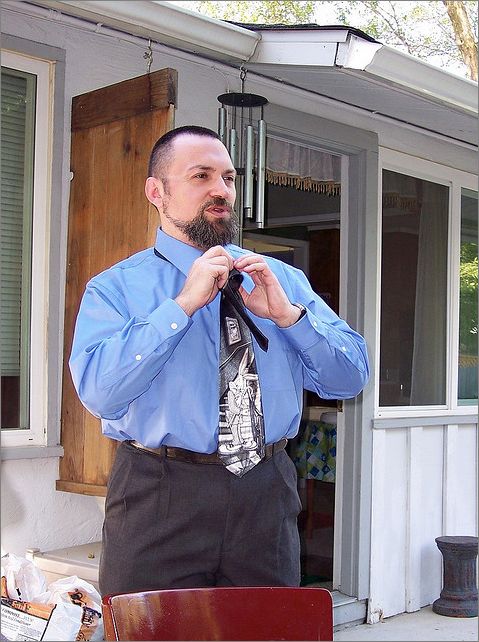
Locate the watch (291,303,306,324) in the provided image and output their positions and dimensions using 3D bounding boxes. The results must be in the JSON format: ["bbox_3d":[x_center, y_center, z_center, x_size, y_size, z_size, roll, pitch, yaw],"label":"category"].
[{"bbox_3d":[0.125,-0.016,1.542,0.032,0.037,0.015,7,-46,-6],"label":"watch"}]
